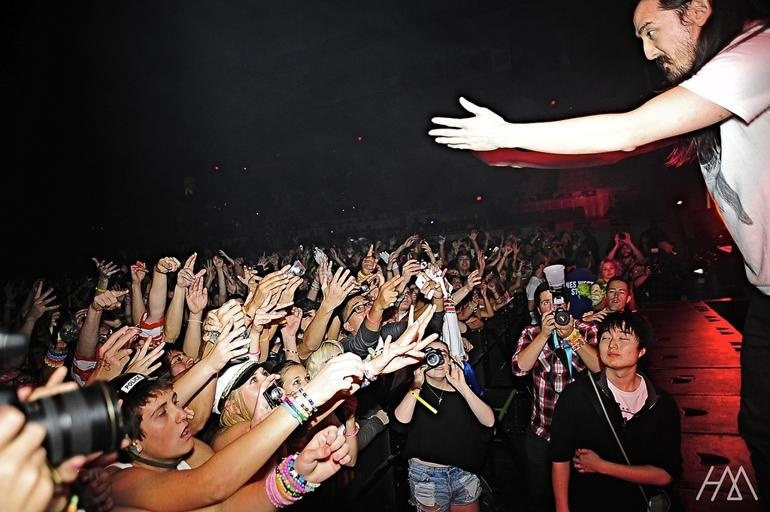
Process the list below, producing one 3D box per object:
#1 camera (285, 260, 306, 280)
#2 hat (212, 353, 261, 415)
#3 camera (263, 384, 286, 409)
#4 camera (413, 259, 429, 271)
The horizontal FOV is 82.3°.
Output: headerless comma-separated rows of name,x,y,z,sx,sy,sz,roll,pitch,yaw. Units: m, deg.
camera,-0.878,0.138,4.331,0.059,0.180,0.182,5,-29,17
hat,-1.159,1.010,3.388,0.424,0.397,0.147,-8,-5,15
camera,-0.783,1.012,3.129,0.118,0.171,0.167,-3,-7,-38
camera,0.388,0.114,4.507,0.118,0.043,0.117,-3,15,-14
